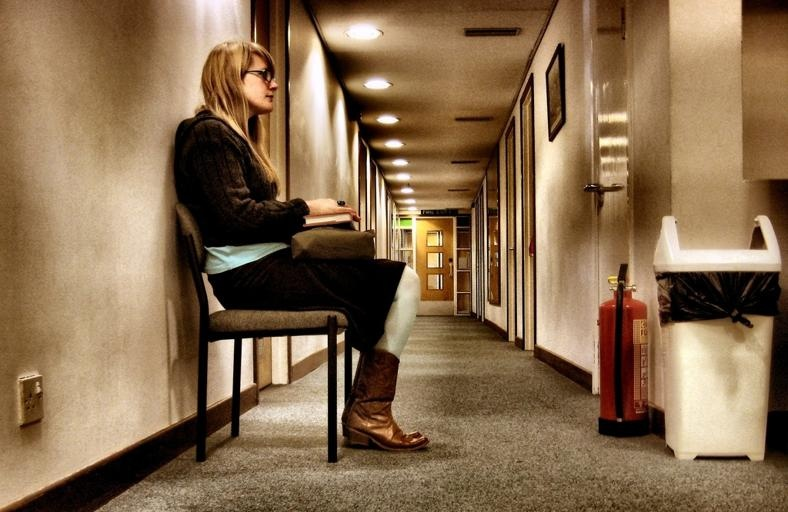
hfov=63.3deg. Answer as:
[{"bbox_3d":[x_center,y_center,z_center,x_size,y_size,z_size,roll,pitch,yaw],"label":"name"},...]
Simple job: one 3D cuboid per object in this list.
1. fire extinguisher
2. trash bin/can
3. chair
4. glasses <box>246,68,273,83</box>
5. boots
[{"bbox_3d":[1.115,0.461,3.124,0.229,0.830,0.203,0,4,19],"label":"fire extinguisher"},{"bbox_3d":[1.401,0.352,2.806,0.495,1.047,0.270,0,4,19],"label":"trash bin/can"},{"bbox_3d":[-0.755,0.431,3.418,1.072,1.468,0.901,0,-3,-1],"label":"chair"},{"bbox_3d":[-0.612,-0.829,2.966,0.082,0.024,0.079,-1,5,1],"label":"glasses"},{"bbox_3d":[-0.068,0.666,2.832,0.534,0.495,0.279,1,-2,-7],"label":"boots"}]
